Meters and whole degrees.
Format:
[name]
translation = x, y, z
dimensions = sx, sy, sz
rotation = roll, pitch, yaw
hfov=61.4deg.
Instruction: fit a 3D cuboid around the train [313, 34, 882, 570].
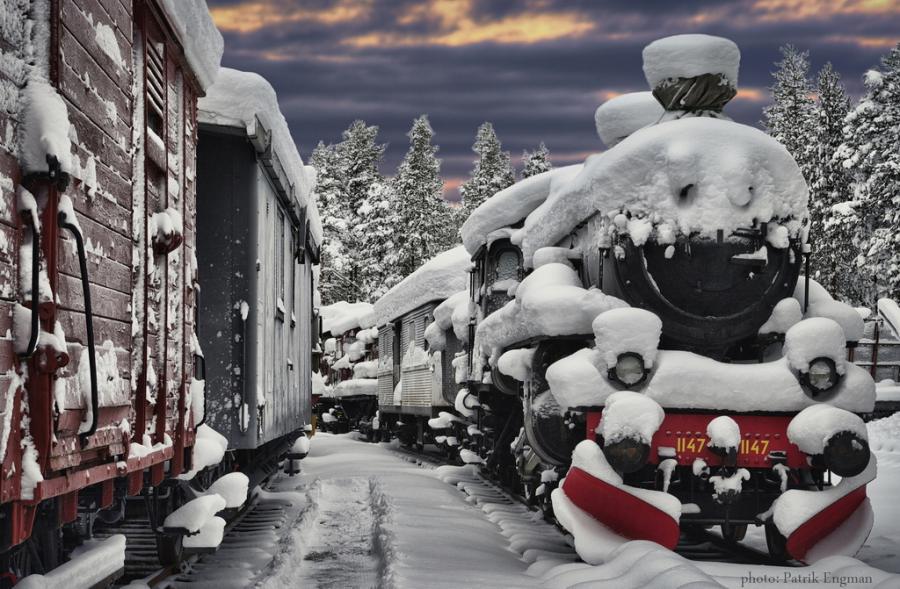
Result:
[train]
translation = 1.909, 0.018, 9.401
dimensions = 2.849, 5.821, 6.081
rotation = 1, -6, -15
